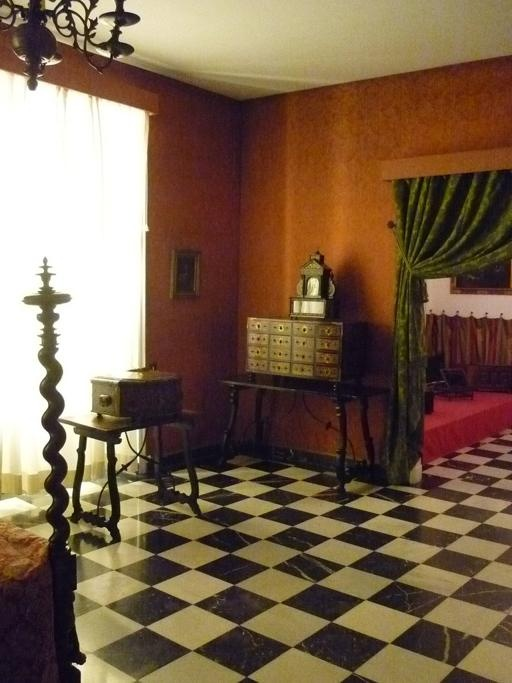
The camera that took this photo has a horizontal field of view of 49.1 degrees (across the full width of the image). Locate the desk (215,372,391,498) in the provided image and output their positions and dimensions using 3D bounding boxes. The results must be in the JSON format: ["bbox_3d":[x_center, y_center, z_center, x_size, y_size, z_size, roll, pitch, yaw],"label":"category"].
[{"bbox_3d":[0.339,0.784,4.951,1.447,0.840,0.573,1,1,43],"label":"desk"}]

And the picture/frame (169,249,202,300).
[{"bbox_3d":[-0.659,-0.610,5.087,0.064,0.494,0.474,4,4,31],"label":"picture/frame"}]

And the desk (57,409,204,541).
[{"bbox_3d":[-0.816,0.859,3.762,0.581,0.682,0.764,-1,1,39],"label":"desk"}]
